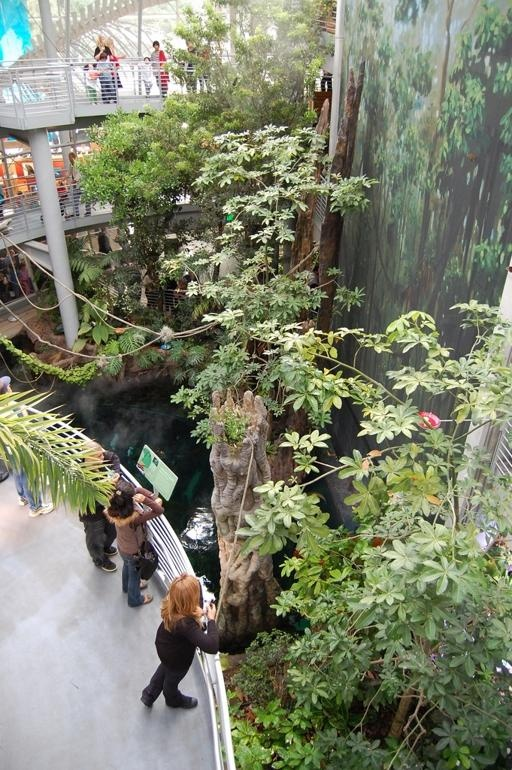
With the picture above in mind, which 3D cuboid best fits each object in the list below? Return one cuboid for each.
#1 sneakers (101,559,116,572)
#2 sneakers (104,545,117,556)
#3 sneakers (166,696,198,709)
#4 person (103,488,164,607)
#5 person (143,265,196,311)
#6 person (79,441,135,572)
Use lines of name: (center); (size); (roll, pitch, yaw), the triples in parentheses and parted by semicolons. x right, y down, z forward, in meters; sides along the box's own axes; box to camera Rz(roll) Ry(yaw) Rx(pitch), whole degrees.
sneakers: (-1.243, 1.516, 4.013); (0.156, 0.062, 0.075); (16, 33, 35)
sneakers: (-1.260, 1.437, 4.119); (0.115, 0.048, 0.053); (4, 32, 8)
sneakers: (-0.460, 1.952, 2.924); (0.173, 0.116, 0.060); (-8, 37, -4)
person: (-0.869, 1.159, 3.500); (0.370, 1.173, 0.336); (-17, 30, -33)
person: (-2.294, -2.358, 11.778); (1.070, 0.998, 1.083); (-2, 25, -6)
person: (-1.108, 0.946, 3.464); (0.401, 1.206, 0.378); (-31, 73, -28)
